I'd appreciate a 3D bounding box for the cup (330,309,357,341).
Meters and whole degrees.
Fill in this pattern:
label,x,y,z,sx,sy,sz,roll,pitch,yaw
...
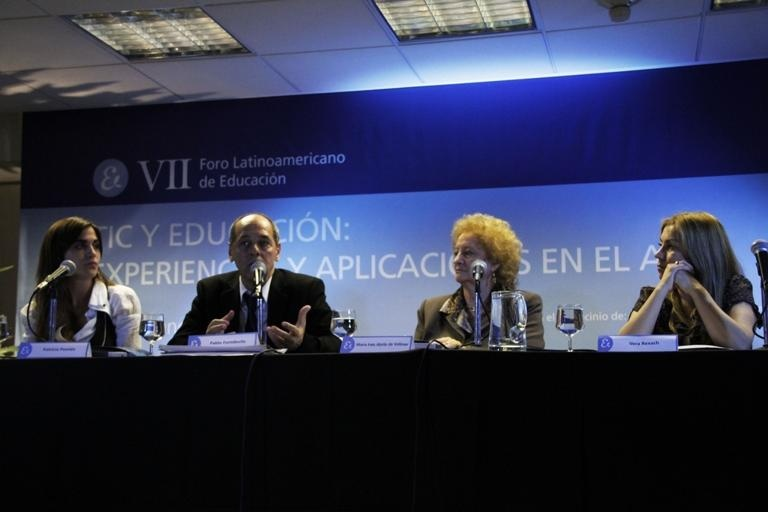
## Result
label,x,y,z,sx,sy,sz,roll,pitch,yaw
cup,-0.220,0.340,3.055,0.150,0.172,0.149,2,-6,0

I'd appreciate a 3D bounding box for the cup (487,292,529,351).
label,x,y,z,sx,sy,sz,roll,pitch,yaw
cup,0.533,0.280,2.712,0.153,0.248,0.203,0,-4,10

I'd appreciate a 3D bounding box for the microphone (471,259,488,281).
label,x,y,z,sx,sy,sz,roll,pitch,yaw
microphone,0.492,0.081,3.254,0.096,0.107,0.106,2,16,11

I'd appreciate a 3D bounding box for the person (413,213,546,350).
label,x,y,z,sx,sy,sz,roll,pitch,yaw
person,0.655,0.167,4.085,0.839,0.820,0.462,-14,-30,41

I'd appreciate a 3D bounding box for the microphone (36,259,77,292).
label,x,y,z,sx,sy,sz,roll,pitch,yaw
microphone,-1.867,0.111,3.588,0.085,0.081,0.240,32,42,19

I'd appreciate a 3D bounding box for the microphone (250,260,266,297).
label,x,y,z,sx,sy,sz,roll,pitch,yaw
microphone,-0.630,0.114,3.129,0.056,0.185,0.258,1,-4,-13

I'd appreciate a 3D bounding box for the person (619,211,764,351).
label,x,y,z,sx,sy,sz,roll,pitch,yaw
person,1.882,0.157,3.773,0.574,0.993,0.725,13,-17,-4

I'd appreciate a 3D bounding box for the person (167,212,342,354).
label,x,y,z,sx,sy,sz,roll,pitch,yaw
person,-0.824,0.179,4.233,0.835,1.164,0.632,-3,-38,-2
